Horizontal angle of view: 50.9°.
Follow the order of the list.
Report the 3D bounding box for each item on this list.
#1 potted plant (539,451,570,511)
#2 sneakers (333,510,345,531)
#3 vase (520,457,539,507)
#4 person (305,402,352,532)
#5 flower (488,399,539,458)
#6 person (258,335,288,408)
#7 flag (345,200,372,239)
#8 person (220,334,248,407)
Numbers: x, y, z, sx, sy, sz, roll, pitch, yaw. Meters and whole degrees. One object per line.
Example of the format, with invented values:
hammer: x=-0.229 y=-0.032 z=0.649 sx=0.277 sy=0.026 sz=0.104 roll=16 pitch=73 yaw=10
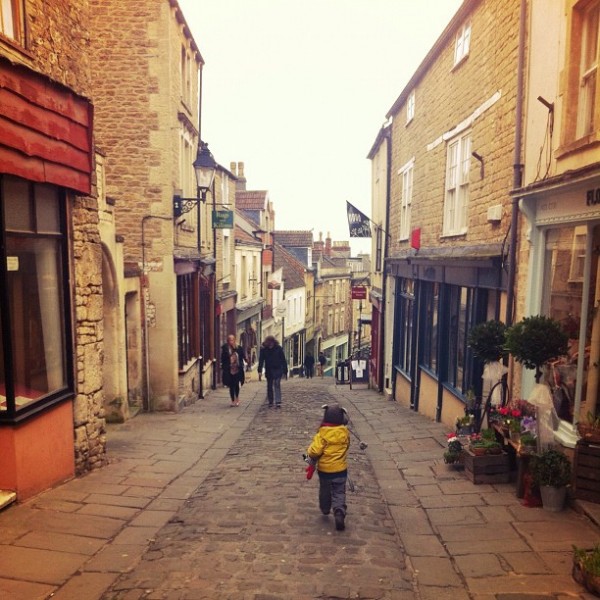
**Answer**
potted plant: x=2.613 y=1.867 z=6.526 sx=0.316 sy=0.631 sz=0.252 roll=0 pitch=1 yaw=18
sneakers: x=0.400 y=2.226 z=6.380 sx=0.065 sy=0.245 sz=0.096 roll=-3 pitch=2 yaw=2
vase: x=2.475 y=1.941 z=6.790 sx=0.182 sy=0.531 sz=0.450 roll=0 pitch=0 yaw=4
person: x=0.274 y=1.729 z=6.664 sx=0.456 sy=1.175 sz=0.682 roll=0 pitch=1 yaw=3
flower: x=2.570 y=1.538 z=7.563 sx=0.448 sy=0.623 sz=1.441 roll=0 pitch=0 yaw=9
person: x=-0.627 y=1.624 z=14.485 sx=0.633 sy=1.659 sz=1.419 roll=0 pitch=0 yaw=-3
flag: x=1.928 y=-2.639 z=21.086 sx=0.887 sy=1.062 sz=0.697 roll=0 pitch=0 yaw=-10
person: x=-1.573 y=1.653 z=14.781 sx=0.512 sy=1.698 sz=1.357 roll=0 pitch=0 yaw=-6
